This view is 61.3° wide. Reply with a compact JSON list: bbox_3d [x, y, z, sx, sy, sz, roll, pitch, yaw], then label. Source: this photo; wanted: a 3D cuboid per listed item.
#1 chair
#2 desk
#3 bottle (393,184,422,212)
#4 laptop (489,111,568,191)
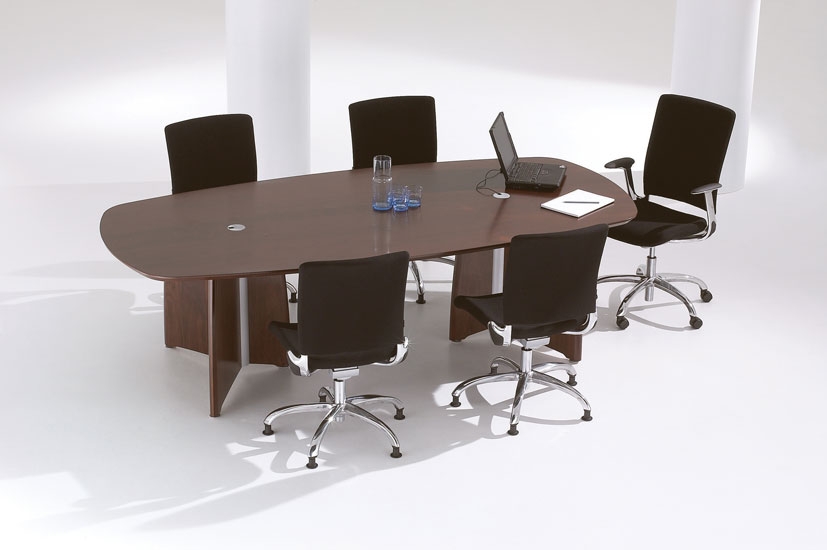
[{"bbox_3d":[0.254,0.109,4.711,2.485,0.958,1.494,-6,25,-8],"label":"chair"},{"bbox_3d":[-0.468,0.065,4.618,2.848,1.485,1.451,-5,16,-24],"label":"desk"},{"bbox_3d":[-0.037,-0.514,4.630,0.146,0.072,0.196,2,25,5],"label":"bottle"},{"bbox_3d":[0.832,-0.912,5.040,0.514,0.412,0.569,7,27,11],"label":"laptop"}]
